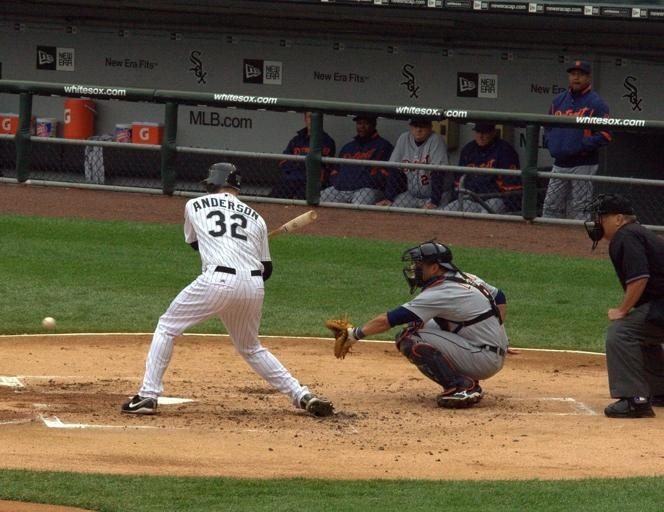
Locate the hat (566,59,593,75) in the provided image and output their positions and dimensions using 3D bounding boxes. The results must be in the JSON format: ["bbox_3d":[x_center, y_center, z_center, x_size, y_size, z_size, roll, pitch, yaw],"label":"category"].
[{"bbox_3d":[2.800,-2.132,17.721,0.267,0.171,0.376,8,5,26],"label":"hat"}]

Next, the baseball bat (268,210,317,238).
[{"bbox_3d":[-0.445,-0.350,16.812,0.652,0.120,0.071,-26,20,5],"label":"baseball bat"}]

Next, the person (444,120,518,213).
[{"bbox_3d":[1.758,-1.028,18.207,0.864,1.048,0.995,2,2,4],"label":"person"}]

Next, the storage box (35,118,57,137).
[{"bbox_3d":[-3.756,-1.661,20.622,0.349,0.337,0.334,1,4,-2],"label":"storage box"}]

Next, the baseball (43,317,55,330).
[{"bbox_3d":[-2.839,0.674,15.703,0.121,0.116,0.118,-32,14,-23],"label":"baseball"}]

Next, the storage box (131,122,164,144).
[{"bbox_3d":[-2.418,-1.592,20.352,0.546,0.270,0.349,5,1,2],"label":"storage box"}]

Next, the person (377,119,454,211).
[{"bbox_3d":[0.993,-1.016,18.425,0.925,1.310,1.038,0,-16,15],"label":"person"}]

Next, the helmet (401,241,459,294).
[{"bbox_3d":[0.851,0.074,14.096,0.576,0.483,0.405,0,5,5],"label":"helmet"}]

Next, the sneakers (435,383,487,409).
[{"bbox_3d":[1.113,1.258,13.874,0.456,0.209,0.170,-20,-1,-11],"label":"sneakers"}]

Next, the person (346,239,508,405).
[{"bbox_3d":[0.786,0.597,14.067,1.817,1.390,1.029,2,2,-32],"label":"person"}]

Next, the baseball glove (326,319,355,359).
[{"bbox_3d":[0.069,0.743,14.076,0.174,0.342,0.254,5,-3,6],"label":"baseball glove"}]

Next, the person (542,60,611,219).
[{"bbox_3d":[2.738,-1.307,17.652,0.802,1.793,0.627,3,3,22],"label":"person"}]

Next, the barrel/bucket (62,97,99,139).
[{"bbox_3d":[-3.382,-1.801,20.683,0.573,0.565,0.602,0,3,0],"label":"barrel/bucket"}]

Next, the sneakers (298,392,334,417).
[{"bbox_3d":[-0.129,1.308,13.662,0.338,0.144,0.146,18,23,33],"label":"sneakers"}]

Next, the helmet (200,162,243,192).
[{"bbox_3d":[-1.006,-0.718,13.941,0.312,0.211,0.212,-5,5,-3],"label":"helmet"}]

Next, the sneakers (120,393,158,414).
[{"bbox_3d":[-1.732,1.293,13.602,0.385,0.172,0.131,1,-1,7],"label":"sneakers"}]
